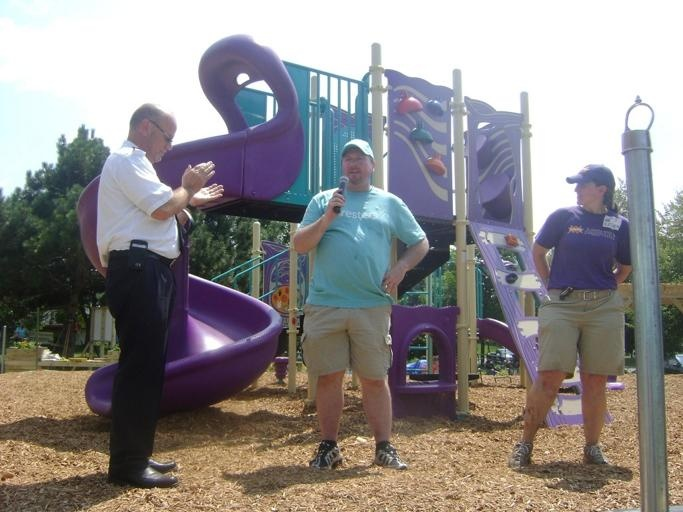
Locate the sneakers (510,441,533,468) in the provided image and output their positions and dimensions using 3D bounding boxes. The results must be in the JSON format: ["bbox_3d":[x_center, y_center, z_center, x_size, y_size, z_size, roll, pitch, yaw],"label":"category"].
[{"bbox_3d":[1.242,1.371,4.772,0.146,0.152,0.227,0,-3,18],"label":"sneakers"}]

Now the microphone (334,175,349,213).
[{"bbox_3d":[-0.002,-0.427,4.651,0.075,0.306,0.072,24,-22,-37],"label":"microphone"}]

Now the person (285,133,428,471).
[{"bbox_3d":[0.143,0.265,4.726,0.862,2.337,0.719,1,-14,-1],"label":"person"}]

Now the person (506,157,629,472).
[{"bbox_3d":[1.700,0.394,4.975,0.890,2.135,0.569,1,-2,3],"label":"person"}]

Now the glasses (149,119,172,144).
[{"bbox_3d":[-1.184,-0.817,4.505,0.038,0.134,0.124,-34,-22,17],"label":"glasses"}]

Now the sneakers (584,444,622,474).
[{"bbox_3d":[1.815,1.407,4.780,0.085,0.122,0.257,1,-6,-25],"label":"sneakers"}]

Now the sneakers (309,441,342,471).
[{"bbox_3d":[-0.107,1.338,4.618,0.099,0.160,0.302,-6,-19,16],"label":"sneakers"}]

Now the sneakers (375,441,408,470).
[{"bbox_3d":[0.335,1.337,4.591,0.099,0.133,0.262,2,-9,-30],"label":"sneakers"}]

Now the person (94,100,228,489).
[{"bbox_3d":[-1.221,0.204,4.385,0.652,2.406,0.468,2,-2,-23],"label":"person"}]
